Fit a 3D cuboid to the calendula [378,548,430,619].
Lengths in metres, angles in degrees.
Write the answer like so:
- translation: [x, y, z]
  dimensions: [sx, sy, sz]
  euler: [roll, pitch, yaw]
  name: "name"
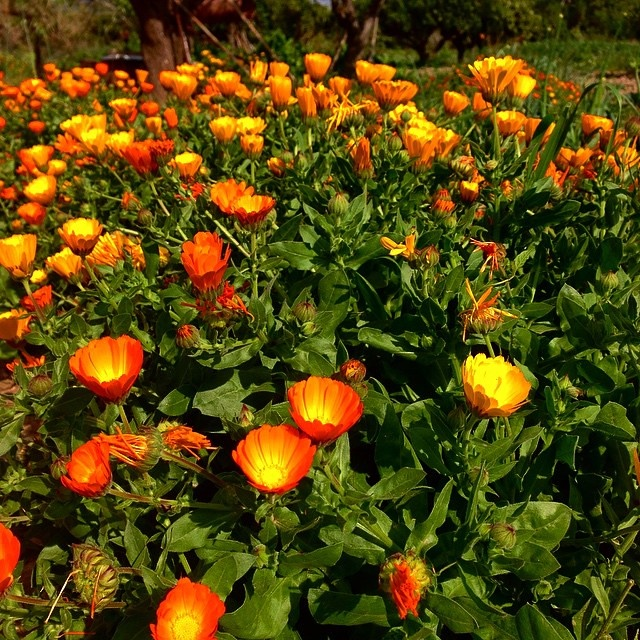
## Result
- translation: [0.156, 0.485, 1.183]
  dimensions: [0.097, 0.124, 0.069]
  euler: [5, 22, 11]
  name: "calendula"
